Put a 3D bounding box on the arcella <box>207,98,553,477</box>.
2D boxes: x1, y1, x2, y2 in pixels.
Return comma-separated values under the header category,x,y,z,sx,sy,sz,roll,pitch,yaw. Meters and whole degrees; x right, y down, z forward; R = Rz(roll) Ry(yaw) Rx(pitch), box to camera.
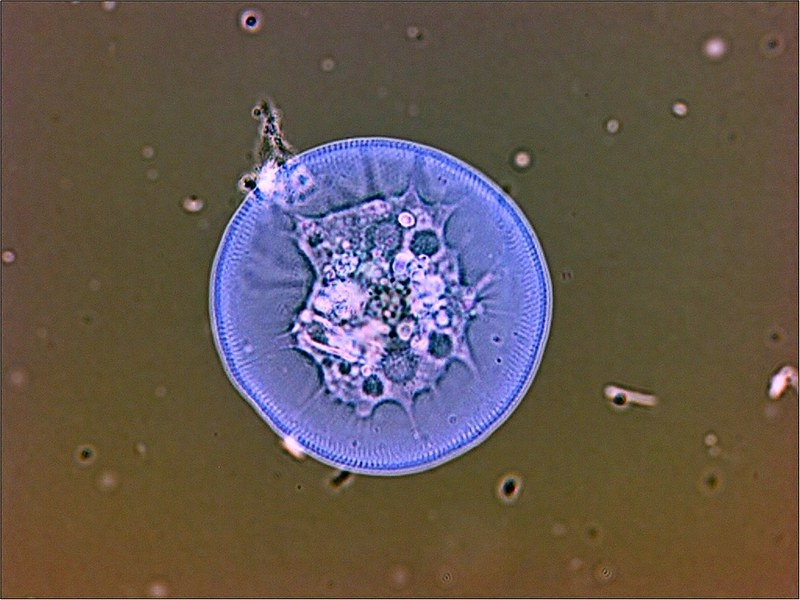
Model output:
category,x,y,z,sx,sy,sz,roll,pitch,yaw
arcella,-0.129,0.018,6.340,2.057,0.268,2.035,8,-85,-2
